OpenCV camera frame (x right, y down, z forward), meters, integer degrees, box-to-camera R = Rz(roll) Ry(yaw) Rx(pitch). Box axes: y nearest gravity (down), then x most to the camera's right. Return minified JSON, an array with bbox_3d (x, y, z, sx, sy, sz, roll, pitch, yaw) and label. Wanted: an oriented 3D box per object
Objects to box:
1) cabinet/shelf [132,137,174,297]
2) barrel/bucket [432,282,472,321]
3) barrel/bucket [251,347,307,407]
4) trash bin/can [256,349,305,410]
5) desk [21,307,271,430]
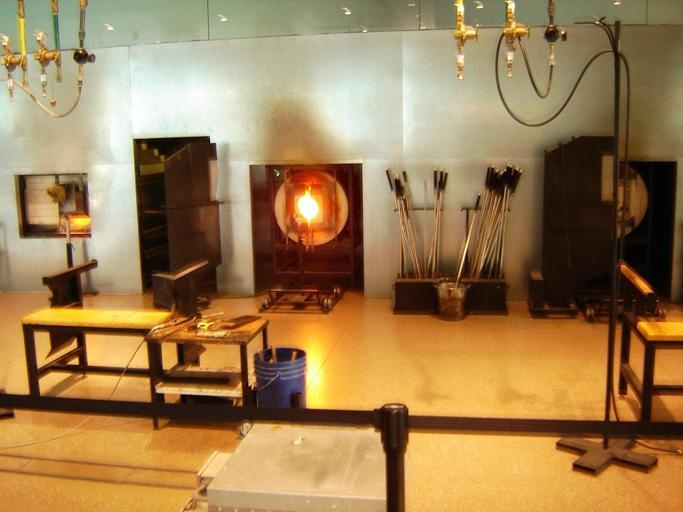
[{"bbox_3d":[-3.470,-0.791,10.822,0.364,2.741,1.199,-1,8,0],"label":"cabinet/shelf"},{"bbox_3d":[1.609,0.668,8.737,0.530,0.504,0.536,0,4,0],"label":"barrel/bucket"},{"bbox_3d":[-0.582,1.202,5.944,0.582,0.566,0.578,0,2,0],"label":"barrel/bucket"},{"bbox_3d":[-0.589,1.214,5.980,0.578,0.572,0.564,0,3,3],"label":"trash bin/can"},{"bbox_3d":[-2.106,1.106,6.237,2.651,1.022,0.926,1,8,17],"label":"desk"}]
